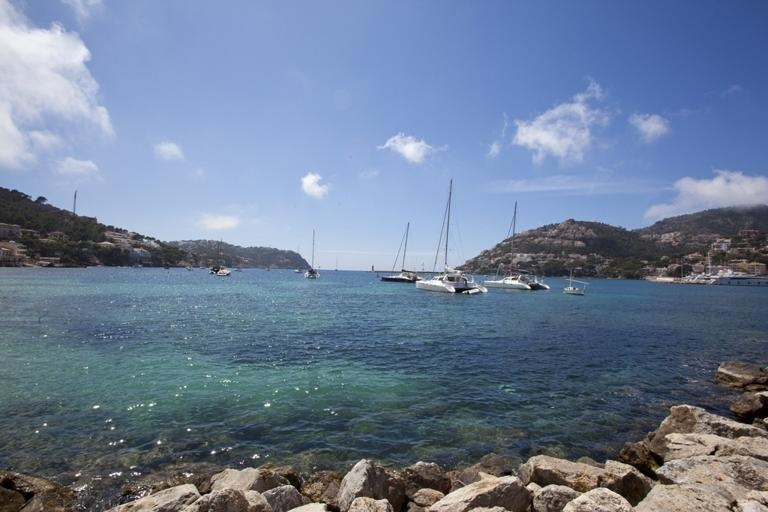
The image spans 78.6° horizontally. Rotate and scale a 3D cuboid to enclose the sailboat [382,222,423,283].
[{"bbox_3d":[3.919,-0.323,108.404,11.291,12.309,3.930,2,3,29],"label":"sailboat"}]
